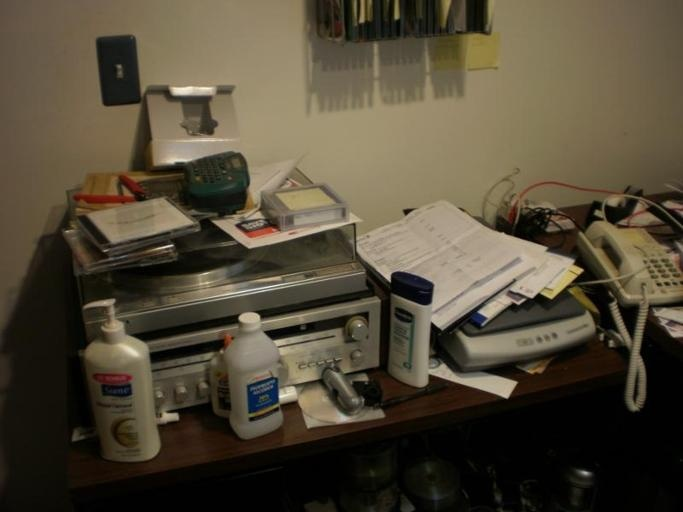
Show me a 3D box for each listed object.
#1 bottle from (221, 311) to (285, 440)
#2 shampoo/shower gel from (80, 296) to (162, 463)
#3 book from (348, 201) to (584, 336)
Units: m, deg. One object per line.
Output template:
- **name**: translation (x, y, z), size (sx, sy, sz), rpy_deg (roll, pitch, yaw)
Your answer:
- **bottle**: translation (-0.185, 0.254, 1.196), size (0.113, 0.253, 0.086), rpy_deg (-12, 22, -30)
- **shampoo/shower gel**: translation (-0.443, 0.249, 1.144), size (0.124, 0.330, 0.114), rpy_deg (-6, 20, -10)
- **book**: translation (0.289, -0.003, 1.461), size (0.344, 0.050, 0.345), rpy_deg (-29, 47, -23)
